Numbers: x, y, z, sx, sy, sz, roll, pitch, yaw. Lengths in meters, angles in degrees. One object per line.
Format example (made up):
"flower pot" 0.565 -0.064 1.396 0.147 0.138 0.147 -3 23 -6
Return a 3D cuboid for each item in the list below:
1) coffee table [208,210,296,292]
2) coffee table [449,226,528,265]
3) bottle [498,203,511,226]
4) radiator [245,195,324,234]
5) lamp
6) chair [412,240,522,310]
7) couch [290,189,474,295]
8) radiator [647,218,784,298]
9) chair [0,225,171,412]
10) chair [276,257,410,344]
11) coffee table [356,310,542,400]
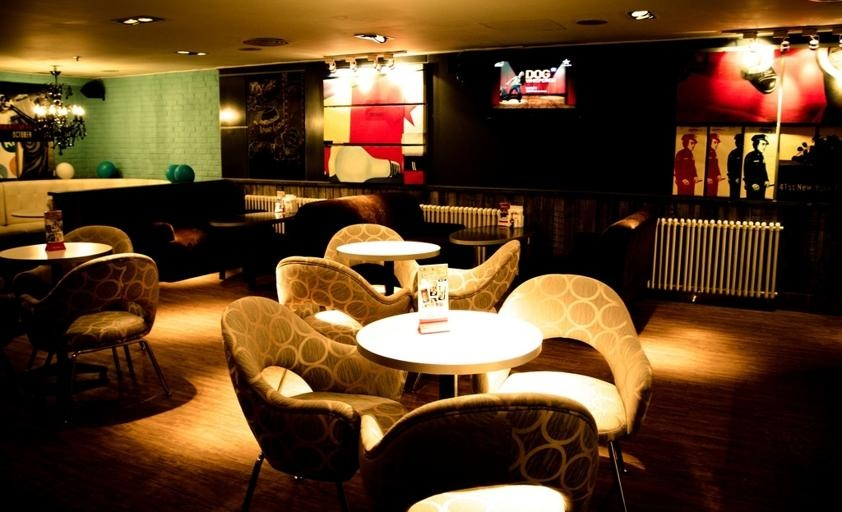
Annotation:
"coffee table" -2.503 -0.116 8.575 0.853 0.976 1.093 3 14 18
"coffee table" 0.846 -0.252 7.466 0.580 0.640 1.014 12 16 39
"bottle" 1.222 -0.591 8.114 0.141 0.306 0.213 -7 14 -21
"radiator" -2.056 -0.627 8.637 0.858 0.471 0.045 6 18 27
"lamp" -7.188 -2.835 11.183 0.984 1.566 0.959 5 9 31
"chair" 0.369 0.358 5.349 0.877 0.911 0.705 6 15 -1
"couch" -0.443 -0.164 8.266 1.627 1.233 2.854 12 15 25
"radiator" 4.123 0.003 7.768 1.158 0.678 0.076 5 10 18
"chair" -2.959 0.536 5.664 1.351 1.606 1.507 -7 13 -44
"chair" -0.851 0.650 5.223 1.024 1.027 0.912 9 -15 -33
"coffee table" 0.193 0.584 3.733 0.830 0.546 0.828 9 16 34
